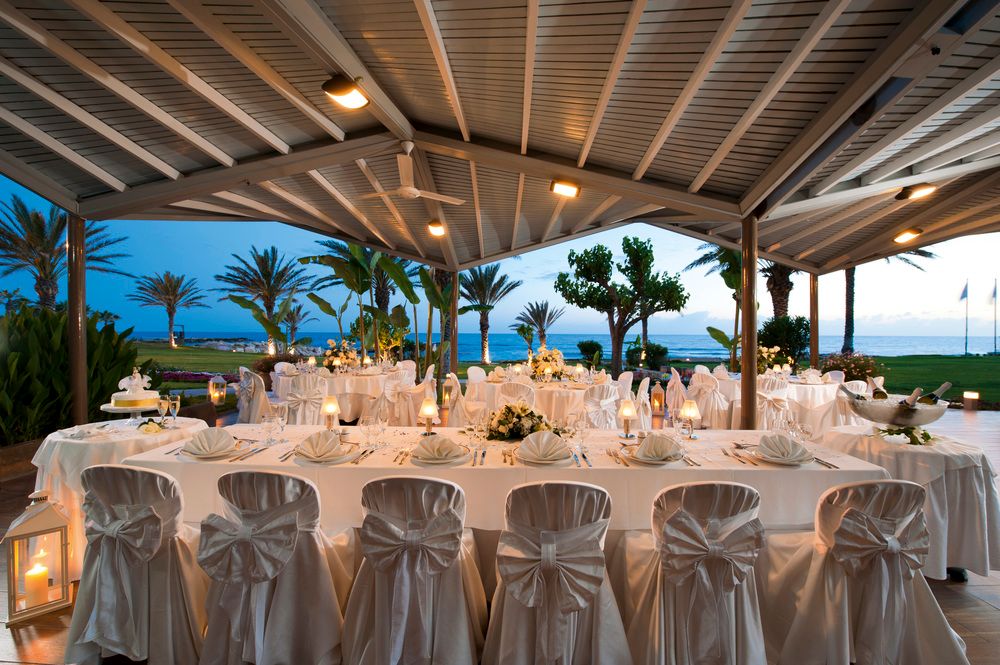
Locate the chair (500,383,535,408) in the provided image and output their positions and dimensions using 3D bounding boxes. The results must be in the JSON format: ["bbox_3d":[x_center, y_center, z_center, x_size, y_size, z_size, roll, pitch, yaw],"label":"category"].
[{"bbox_3d":[0.218,0.828,8.785,0.392,0.462,0.371,3,8,15],"label":"chair"}]

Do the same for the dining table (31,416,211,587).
[{"bbox_3d":[-3.737,1.579,6.428,1.586,1.058,1.513,-2,-7,3],"label":"dining table"}]

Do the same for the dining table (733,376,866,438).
[{"bbox_3d":[4.250,1.042,9.085,1.337,0.486,1.338,0,1,7],"label":"dining table"}]

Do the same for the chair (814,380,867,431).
[{"bbox_3d":[4.114,0.896,7.663,0.626,0.632,0.549,-1,8,-7],"label":"chair"}]

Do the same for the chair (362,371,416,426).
[{"bbox_3d":[-1.852,1.073,10.130,0.837,0.916,0.729,1,15,-30],"label":"chair"}]

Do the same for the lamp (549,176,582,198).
[{"bbox_3d":[0.782,-1.829,7.852,0.360,0.124,0.312,9,-26,-3],"label":"lamp"}]

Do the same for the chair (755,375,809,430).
[{"bbox_3d":[4.121,1.041,9.317,0.714,0.973,0.903,-3,-2,32],"label":"chair"}]

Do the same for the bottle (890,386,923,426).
[{"bbox_3d":[3.708,0.666,5.764,0.216,0.338,0.154,0,-2,28],"label":"bottle"}]

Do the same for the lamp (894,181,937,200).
[{"bbox_3d":[5.112,-1.728,7.824,0.341,0.071,0.320,-2,-3,0],"label":"lamp"}]

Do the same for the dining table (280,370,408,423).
[{"bbox_3d":[-2.612,0.966,9.944,1.629,0.492,1.280,0,3,-1],"label":"dining table"}]

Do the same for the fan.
[{"bbox_3d":[-1.099,-1.875,8.110,1.301,0.471,0.996,4,11,27],"label":"fan"}]

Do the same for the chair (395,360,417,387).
[{"bbox_3d":[-1.679,0.700,11.179,0.439,0.598,0.456,0,-8,-3],"label":"chair"}]

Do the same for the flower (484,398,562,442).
[{"bbox_3d":[0.168,0.855,6.022,0.456,0.232,0.444,2,-10,15],"label":"flower"}]

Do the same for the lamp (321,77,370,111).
[{"bbox_3d":[-1.505,-2.345,6.059,0.217,0.237,0.413,0,-3,32],"label":"lamp"}]

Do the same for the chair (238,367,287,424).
[{"bbox_3d":[-3.767,0.952,9.659,0.446,0.844,1.566,2,-3,-30],"label":"chair"}]
